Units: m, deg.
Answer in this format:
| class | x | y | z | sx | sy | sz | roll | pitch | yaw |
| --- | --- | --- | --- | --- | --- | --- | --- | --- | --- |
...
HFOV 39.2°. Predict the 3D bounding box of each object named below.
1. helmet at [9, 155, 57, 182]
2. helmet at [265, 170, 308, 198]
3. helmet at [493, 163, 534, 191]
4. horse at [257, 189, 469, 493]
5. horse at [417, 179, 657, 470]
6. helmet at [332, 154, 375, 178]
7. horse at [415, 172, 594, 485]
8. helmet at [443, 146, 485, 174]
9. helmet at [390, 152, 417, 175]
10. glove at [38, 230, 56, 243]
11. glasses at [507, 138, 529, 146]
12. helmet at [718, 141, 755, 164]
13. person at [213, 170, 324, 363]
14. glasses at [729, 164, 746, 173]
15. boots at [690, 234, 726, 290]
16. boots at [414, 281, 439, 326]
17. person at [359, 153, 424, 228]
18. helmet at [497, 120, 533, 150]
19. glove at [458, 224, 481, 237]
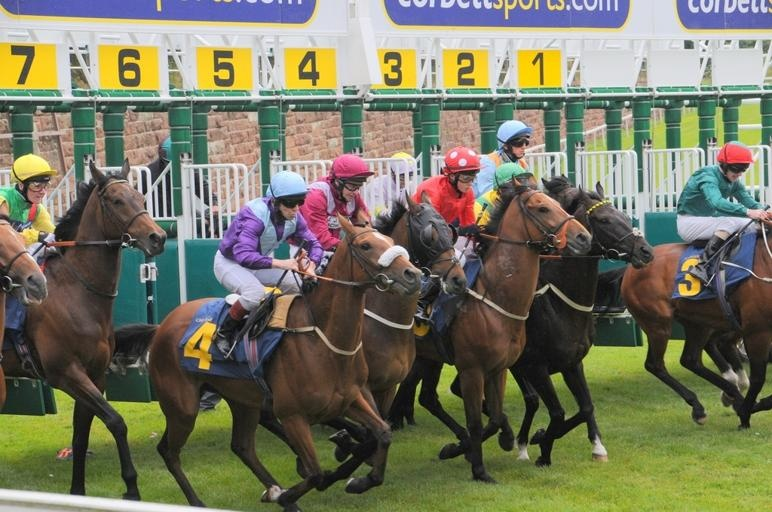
| class | x | y | z | sx | sy | sz | roll | pitch | yaw |
| --- | --- | --- | --- | --- | --- | --- | --- | --- | --- |
| helmet | -3.098 | -0.751 | 9.462 | 0.306 | 0.177 | 0.230 | -13 | 9 | 13 |
| helmet | -0.822 | -0.597 | 8.825 | 0.211 | 0.112 | 0.260 | -4 | 17 | -30 |
| helmet | 1.129 | -0.697 | 9.674 | 0.309 | 0.164 | 0.223 | -23 | 7 | 14 |
| horse | -0.391 | 0.922 | 9.780 | 0.815 | 2.451 | 3.502 | 2 | -9 | -34 |
| horse | 1.321 | 0.774 | 10.324 | 0.898 | 2.474 | 3.521 | 2 | -7 | -21 |
| helmet | -0.305 | -0.774 | 9.379 | 0.268 | 0.149 | 0.201 | 0 | 10 | -2 |
| horse | 0.595 | 0.790 | 9.874 | 0.857 | 2.591 | 3.575 | 4 | -7 | -30 |
| helmet | 0.682 | -0.847 | 9.682 | 0.211 | 0.164 | 0.293 | -11 | 12 | -42 |
| helmet | 0.169 | -0.987 | 11.540 | 0.247 | 0.212 | 0.375 | 2 | 3 | 17 |
| glove | -2.973 | -0.163 | 9.458 | 0.120 | 0.076 | 0.148 | 3 | 9 | 35 |
| glasses | 1.284 | -1.101 | 10.491 | 0.112 | 0.051 | 0.136 | -8 | -11 | -38 |
| helmet | 3.433 | -1.021 | 10.641 | 0.274 | 0.162 | 0.215 | 3 | 19 | 22 |
| person | -0.978 | 0.047 | 9.016 | 0.915 | 1.546 | 0.861 | 17 | 18 | 37 |
| glasses | 3.457 | -0.858 | 10.621 | 0.092 | 0.035 | 0.114 | 2 | 15 | -26 |
| boots | 3.081 | 0.048 | 10.384 | 0.335 | 0.479 | 0.160 | 1 | 11 | 14 |
| boots | 0.333 | 0.419 | 9.358 | 0.144 | 0.364 | 0.256 | 15 | -2 | -31 |
| person | 0.092 | -0.639 | 11.459 | 0.397 | 0.881 | 0.893 | 7 | 27 | 23 |
| helmet | 1.251 | -1.197 | 10.596 | 0.288 | 0.233 | 0.288 | -5 | 4 | 44 |
| glove | 0.725 | -0.213 | 9.354 | 0.148 | 0.059 | 0.090 | 1 | 16 | 5 |
